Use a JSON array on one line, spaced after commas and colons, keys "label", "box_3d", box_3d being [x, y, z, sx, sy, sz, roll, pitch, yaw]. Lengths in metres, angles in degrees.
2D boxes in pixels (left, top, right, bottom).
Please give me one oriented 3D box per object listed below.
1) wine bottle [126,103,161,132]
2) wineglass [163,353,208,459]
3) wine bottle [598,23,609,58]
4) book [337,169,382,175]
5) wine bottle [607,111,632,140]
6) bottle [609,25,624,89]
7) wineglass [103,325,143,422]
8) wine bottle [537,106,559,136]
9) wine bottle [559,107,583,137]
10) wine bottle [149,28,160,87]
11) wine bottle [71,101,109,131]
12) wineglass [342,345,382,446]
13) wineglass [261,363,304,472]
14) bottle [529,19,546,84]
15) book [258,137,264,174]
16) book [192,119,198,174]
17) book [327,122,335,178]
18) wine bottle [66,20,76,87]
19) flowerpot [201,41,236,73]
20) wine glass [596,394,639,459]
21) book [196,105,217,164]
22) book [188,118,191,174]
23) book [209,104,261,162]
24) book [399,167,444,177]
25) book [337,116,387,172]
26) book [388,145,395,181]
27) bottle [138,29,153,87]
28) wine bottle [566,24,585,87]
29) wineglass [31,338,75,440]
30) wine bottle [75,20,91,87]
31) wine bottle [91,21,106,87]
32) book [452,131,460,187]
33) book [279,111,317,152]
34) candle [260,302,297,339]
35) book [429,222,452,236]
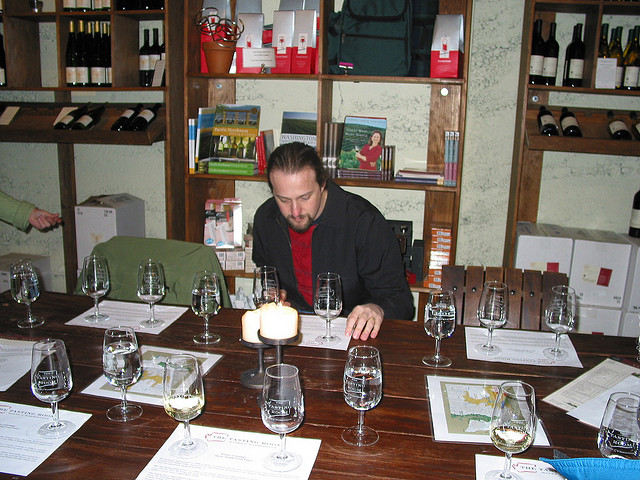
[{"label": "wine bottle", "box_3d": [-1.167, -0.806, 3.435, 0.081, 0.093, 0.347, 22, 38, 0]}, {"label": "wineglass", "box_3d": [-0.364, 0.449, 1.445, 0.109, 0.268, 0.154, 1, 8, 2]}, {"label": "wine bottle", "box_3d": [1.680, -1.176, 3.053, 0.047, 0.199, 0.130, 5, 9, 33]}, {"label": "book", "box_3d": [0.253, -0.429, 3.259, 0.268, 0.030, 0.059, 0, 8, -4]}, {"label": "wine bottle", "box_3d": [1.744, -0.671, 3.020, 0.127, 0.168, 0.200, 4, 9, 27]}, {"label": "bottle", "box_3d": [1.717, -1.065, 2.996, 0.077, 0.398, 0.288, 5, 9, 29]}, {"label": "wineglass", "box_3d": [-0.599, 0.390, 1.573, 0.103, 0.267, 0.182, -3, 8, -20]}, {"label": "wine bottle", "box_3d": [1.346, -0.708, 3.054, 0.122, 0.184, 0.212, 4, 8, 23]}, {"label": "wine bottle", "box_3d": [1.470, -0.689, 3.042, 0.111, 0.181, 0.274, 4, 8, 23]}, {"label": "wine bottle", "box_3d": [-1.114, -1.230, 3.471, 0.073, 0.401, 0.185, -2, 8, -16]}, {"label": "wine bottle", "box_3d": [-1.573, -0.850, 3.536, 0.121, 0.199, 0.291, 2, 8, 13]}, {"label": "wineglass", "box_3d": [0.117, 0.434, 1.474, 0.104, 0.274, 0.162, 1, 8, 3]}, {"label": "wineglass", "box_3d": [-0.101, 0.464, 1.374, 0.106, 0.288, 0.107, -1, 8, -7]}, {"label": "bottle", "box_3d": [1.276, -1.090, 3.030, 0.066, 0.352, 0.254, 4, 9, 25]}, {"label": "book", "box_3d": [-0.391, -0.565, 3.403, 0.030, 0.266, 0.196, -10, 11, -5]}, {"label": "book", "box_3d": [-0.817, -0.611, 3.382, 0.038, 0.337, 0.032, -3, 8, -20]}, {"label": "book", "box_3d": [0.063, -0.596, 3.273, 0.051, 0.227, 0.156, 2, 7, 1]}, {"label": "wine bottle", "box_3d": [-1.660, -1.247, 3.446, 0.069, 0.439, 0.113, -3, 8, -25]}, {"label": "flowerpot", "box_3d": [-0.625, -1.133, 3.269, 0.192, 0.159, 0.197, 9, 17, 16]}, {"label": "wine glass", "box_3d": [0.773, 0.476, 1.318, 0.081, 0.156, 0.076, -1, 8, -8]}, {"label": "book", "box_3d": [-0.742, -0.690, 3.428, 0.069, 0.369, 0.193, 4, 9, 27]}, {"label": "book", "box_3d": [-0.849, -0.611, 3.373, 0.019, 0.340, 0.037, -2, 8, -14]}, {"label": "book", "box_3d": [-0.571, -0.694, 3.429, 0.363, 0.498, 0.053, 2, -20, 4]}, {"label": "book", "box_3d": [0.646, -0.433, 3.309, 0.270, 0.054, 0.281, 2, 8, 10]}, {"label": "book", "box_3d": [0.264, -0.602, 3.306, 0.325, 0.424, 0.044, 6, -23, 7]}, {"label": "book", "box_3d": [0.451, -0.483, 3.286, 0.044, 0.177, 0.125, 2, 10, 0]}, {"label": "bottle", "box_3d": [-1.180, -1.228, 3.492, 0.093, 0.384, 0.143, -2, 8, -19]}, {"label": "wine bottle", "box_3d": [1.501, -1.081, 3.034, 0.092, 0.358, 0.139, 2, 8, 13]}, {"label": "wineglass", "box_3d": [-0.776, 0.422, 1.491, 0.096, 0.266, 0.139, -6, 10, -40]}, {"label": "wine bottle", "box_3d": [-1.588, -1.247, 3.452, 0.091, 0.440, 0.143, -3, 9, -25]}, {"label": "wine bottle", "box_3d": [-1.484, -1.233, 3.446, 0.091, 0.418, 0.134, -3, 8, -23]}, {"label": "book", "box_3d": [0.813, -0.482, 3.107, 0.030, 0.324, 0.068, 1, 8, 7]}, {"label": "book", "box_3d": [-0.108, -0.741, 3.458, 0.360, 0.249, 0.170, 7, 10, 41]}, {"label": "candle", "box_3d": [-0.110, 0.233, 1.539, 0.110, 0.080, 0.109, 10, -9, -41]}, {"label": "book", "box_3d": [0.772, -0.073, 3.336, 0.108, 0.028, 0.099, -1, 33, 9]}]
